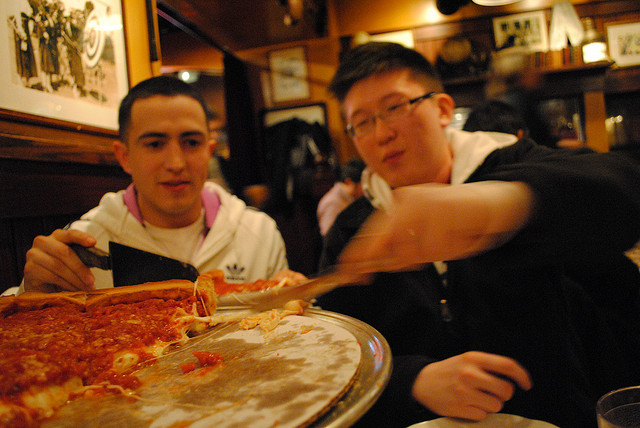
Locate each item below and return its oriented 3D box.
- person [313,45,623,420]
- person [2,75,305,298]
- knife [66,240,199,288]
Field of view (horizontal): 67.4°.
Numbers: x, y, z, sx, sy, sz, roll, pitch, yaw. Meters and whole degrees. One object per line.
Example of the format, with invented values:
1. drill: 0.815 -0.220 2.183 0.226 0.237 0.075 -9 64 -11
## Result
1. person: 0.377 0.035 1.373 0.814 1.096 0.312 -8 6 0
2. person: -0.560 -0.042 1.764 1.178 0.824 0.683 0 -2 -14
3. knife: -0.676 0.170 1.660 0.658 0.180 0.071 4 1 27
